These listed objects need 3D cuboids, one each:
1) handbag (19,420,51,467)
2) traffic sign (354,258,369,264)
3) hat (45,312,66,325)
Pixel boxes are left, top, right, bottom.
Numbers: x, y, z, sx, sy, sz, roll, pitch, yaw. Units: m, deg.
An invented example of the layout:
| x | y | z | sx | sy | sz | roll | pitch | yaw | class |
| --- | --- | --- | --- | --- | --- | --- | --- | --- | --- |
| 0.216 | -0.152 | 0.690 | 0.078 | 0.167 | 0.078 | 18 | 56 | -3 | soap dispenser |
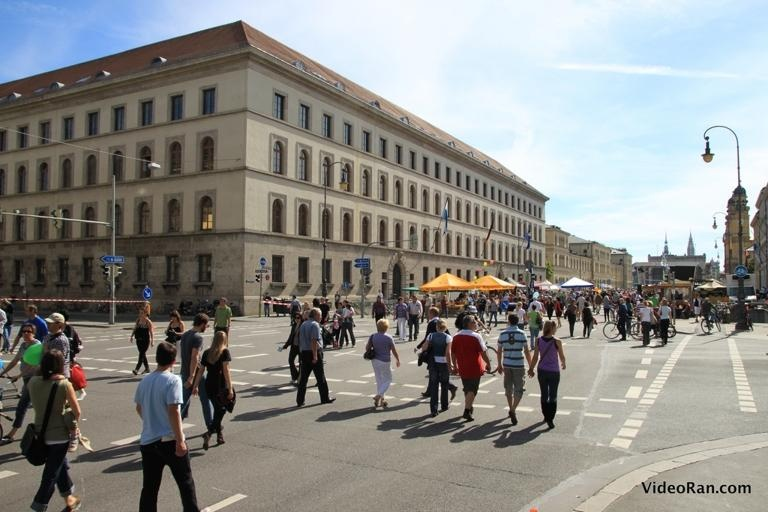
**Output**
| x | y | z | sx | sy | sz | roll | pitch | yaw | class |
| --- | --- | --- | --- | --- | --- | --- | --- | --- | --- |
| -6.626 | 3.540 | 13.195 | 0.401 | 0.807 | 0.127 | 0 | -7 | -11 | handbag |
| -1.563 | 0.459 | 49.060 | 1.037 | 0.547 | 0.585 | -6 | -8 | 29 | traffic sign |
| -7.663 | 1.460 | 16.223 | 0.511 | 0.271 | 0.372 | 21 | -10 | -36 | hat |
